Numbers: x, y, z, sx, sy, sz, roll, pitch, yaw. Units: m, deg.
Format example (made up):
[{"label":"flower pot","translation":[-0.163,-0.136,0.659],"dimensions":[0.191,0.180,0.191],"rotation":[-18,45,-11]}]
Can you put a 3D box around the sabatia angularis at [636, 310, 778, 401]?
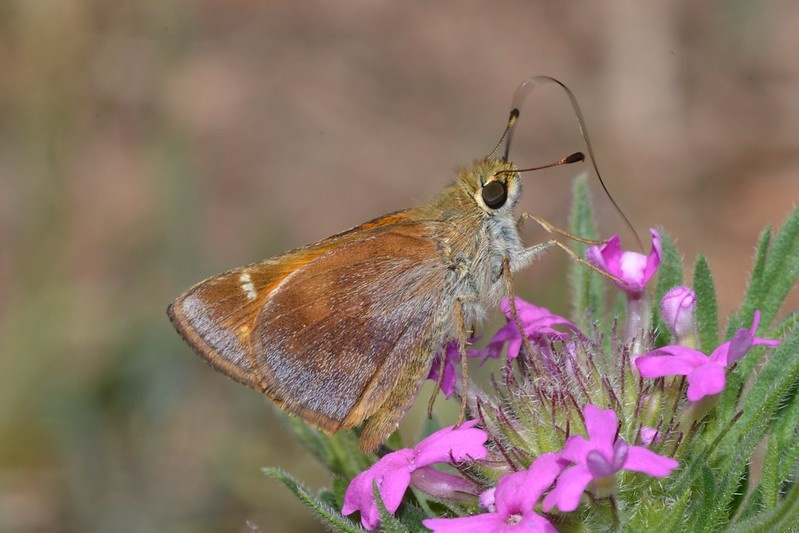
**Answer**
[{"label":"sabatia angularis","translation":[1.457,0.487,4.501],"dimensions":[0.559,0.328,0.372],"rotation":[8,47,0]}]

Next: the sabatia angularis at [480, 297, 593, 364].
[{"label":"sabatia angularis","translation":[0.686,0.318,5.218],"dimensions":[0.394,0.144,0.403],"rotation":[-29,24,-9]}]

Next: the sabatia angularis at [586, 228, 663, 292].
[{"label":"sabatia angularis","translation":[1.253,-0.056,5.111],"dimensions":[0.312,0.296,0.384],"rotation":[-17,31,-7]}]

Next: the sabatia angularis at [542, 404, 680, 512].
[{"label":"sabatia angularis","translation":[0.977,1.021,4.332],"dimensions":[0.495,0.287,0.517],"rotation":[33,53,21]}]

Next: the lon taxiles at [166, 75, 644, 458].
[{"label":"lon taxiles","translation":[-0.195,0.222,5.330],"dimensions":[2.048,1.162,1.069],"rotation":[-8,48,-13]}]
